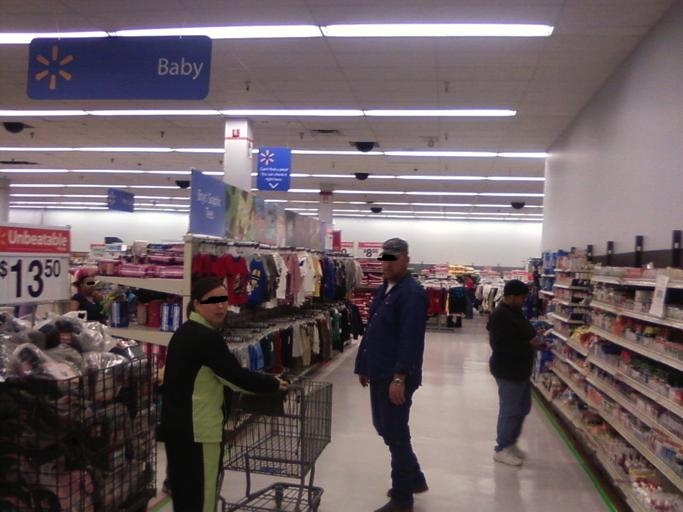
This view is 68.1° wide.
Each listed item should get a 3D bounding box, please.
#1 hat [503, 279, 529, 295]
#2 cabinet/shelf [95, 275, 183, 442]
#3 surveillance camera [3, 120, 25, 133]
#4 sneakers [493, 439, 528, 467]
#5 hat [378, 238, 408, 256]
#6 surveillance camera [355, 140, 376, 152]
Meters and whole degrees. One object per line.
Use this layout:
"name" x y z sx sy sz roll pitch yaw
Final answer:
"hat" 1.803 0.348 5.250 0.180 0.130 0.187 0 -6 4
"cabinet/shelf" -2.804 1.061 6.600 1.611 1.572 0.609 -1 3 28
"surveillance camera" -7.000 -2.764 10.806 0.459 0.166 0.863 0 7 -34
"sneakers" 1.787 2.103 5.381 0.394 0.289 0.143 -3 5 3
"hat" 0.458 -0.081 4.334 0.191 0.136 0.264 9 8 44
"surveillance camera" 0.555 -2.448 11.279 0.495 0.210 0.394 2 6 -13
